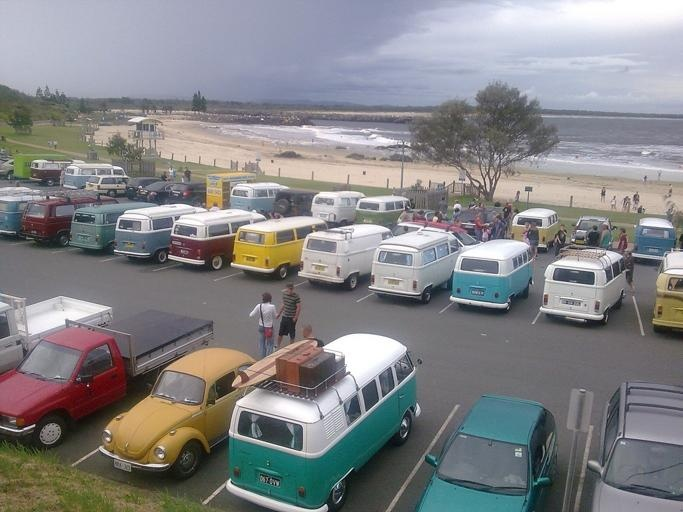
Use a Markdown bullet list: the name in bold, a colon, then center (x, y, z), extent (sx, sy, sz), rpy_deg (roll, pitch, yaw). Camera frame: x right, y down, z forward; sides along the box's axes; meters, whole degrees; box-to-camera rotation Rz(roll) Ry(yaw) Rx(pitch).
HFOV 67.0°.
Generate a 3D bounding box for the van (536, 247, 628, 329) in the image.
- **van**: center (8.719, 1.098, 18.565), extent (1.829, 2.350, 3.365), rpy_deg (14, 19, 42)

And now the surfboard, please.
- **surfboard**: center (-1.342, 2.169, 10.393), extent (0.485, 0.469, 1.868), rpy_deg (24, 27, 21)

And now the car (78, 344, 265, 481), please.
- **car**: center (-3.328, 3.426, 11.097), extent (1.724, 1.636, 3.357), rpy_deg (8, 16, 27)
